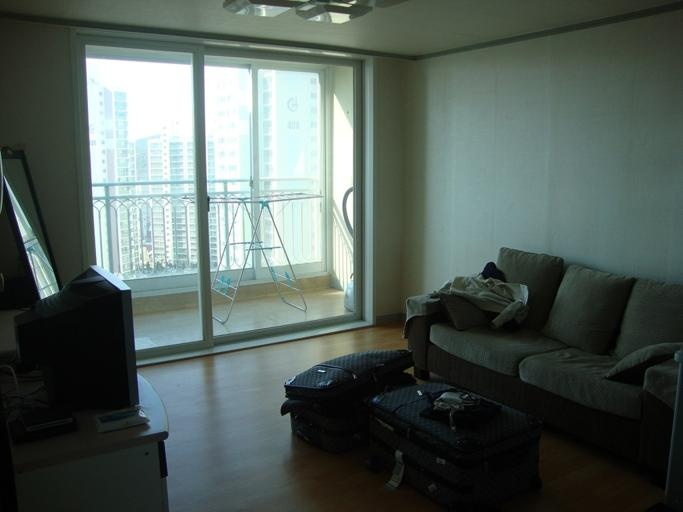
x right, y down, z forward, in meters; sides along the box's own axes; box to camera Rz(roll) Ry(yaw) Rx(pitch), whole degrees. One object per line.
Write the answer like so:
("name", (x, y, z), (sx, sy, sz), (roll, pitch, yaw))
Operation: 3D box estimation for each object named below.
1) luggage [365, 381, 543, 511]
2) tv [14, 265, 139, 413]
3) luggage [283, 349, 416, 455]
("luggage", (0.686, 1.057, 3.134), (0.603, 0.381, 0.723), (-9, 9, -27))
("tv", (-1.251, 0.336, 2.709), (0.511, 0.660, 0.684), (-2, 10, -28))
("luggage", (0.112, 0.921, 3.863), (1.036, 0.492, 0.676), (-14, 1, -29))
